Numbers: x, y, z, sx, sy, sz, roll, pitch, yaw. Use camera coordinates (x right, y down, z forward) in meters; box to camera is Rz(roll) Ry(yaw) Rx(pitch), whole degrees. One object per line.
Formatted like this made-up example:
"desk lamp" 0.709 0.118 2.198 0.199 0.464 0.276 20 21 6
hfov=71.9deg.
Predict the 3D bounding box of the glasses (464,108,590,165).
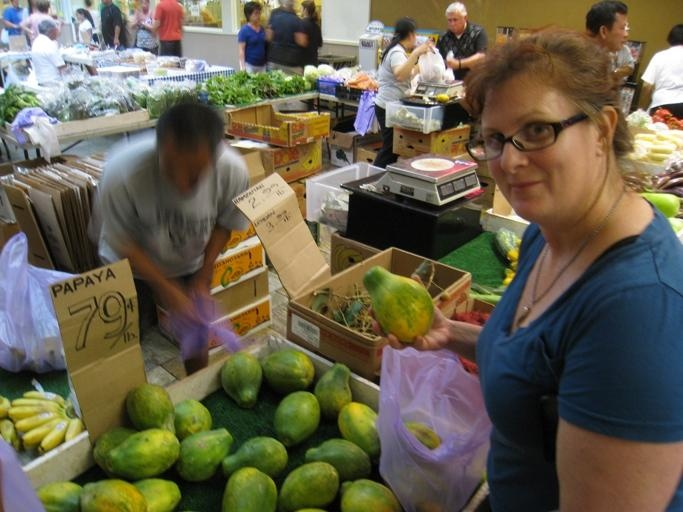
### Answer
"glasses" 0.456 -0.299 1.187 0.214 0.116 0.121 11 27 24

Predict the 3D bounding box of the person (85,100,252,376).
"person" -0.807 -0.138 2.357 0.764 1.223 0.755 -7 20 -27

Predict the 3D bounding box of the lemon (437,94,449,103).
"lemon" 1.126 -1.768 5.239 0.089 0.062 0.110 -5 18 -5

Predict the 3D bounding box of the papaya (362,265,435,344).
"papaya" 0.202 0.172 1.742 0.202 0.282 0.211 -30 -6 -11

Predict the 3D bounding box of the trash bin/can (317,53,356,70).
"trash bin/can" -0.038 -3.797 9.177 0.413 0.259 1.009 18 24 39

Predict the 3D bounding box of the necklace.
"necklace" 0.553 0.036 1.180 0.188 0.386 0.193 15 29 23

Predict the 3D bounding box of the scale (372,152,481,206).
"scale" 0.657 -0.662 3.455 0.736 0.361 0.668 15 25 40

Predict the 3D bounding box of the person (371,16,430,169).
"person" 0.726 -1.878 5.864 0.588 1.948 0.685 10 33 16
